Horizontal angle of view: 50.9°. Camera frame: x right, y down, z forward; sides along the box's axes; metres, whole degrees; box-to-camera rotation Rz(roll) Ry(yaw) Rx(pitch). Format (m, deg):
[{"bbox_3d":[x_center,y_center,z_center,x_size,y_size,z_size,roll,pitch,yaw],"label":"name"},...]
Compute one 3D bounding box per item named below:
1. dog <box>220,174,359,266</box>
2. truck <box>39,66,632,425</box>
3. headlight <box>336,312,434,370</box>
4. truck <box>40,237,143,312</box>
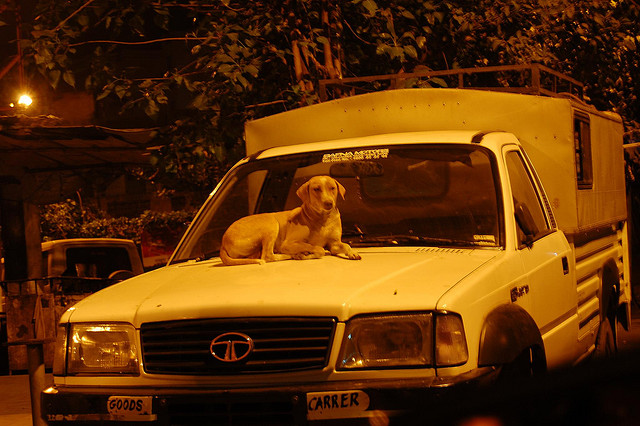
[{"bbox_3d":[-0.187,0.071,4.692,0.866,0.538,0.565,-2,-3,32],"label":"dog"},{"bbox_3d":[0.694,0.336,5.782,2.911,2.563,4.921,-3,-5,25],"label":"truck"},{"bbox_3d":[0.351,0.687,3.622,0.524,0.268,0.062,-4,-3,5],"label":"headlight"},{"bbox_3d":[-4.300,1.398,12.625,1.779,1.568,2.883,6,-12,-20],"label":"truck"}]
